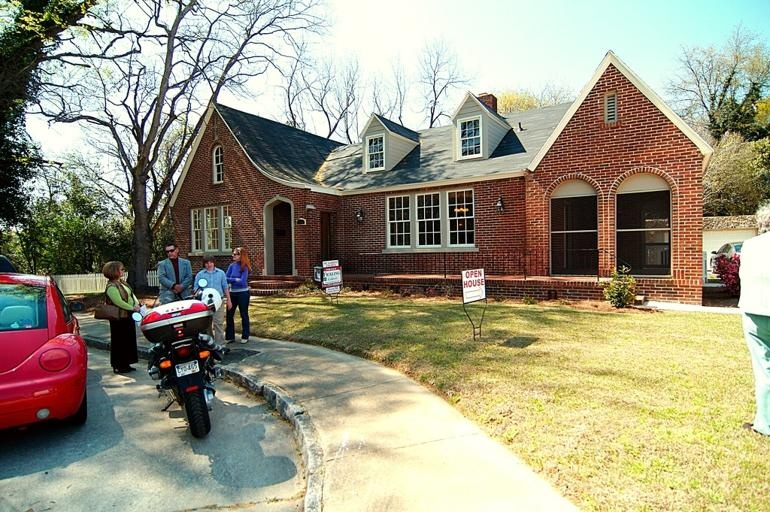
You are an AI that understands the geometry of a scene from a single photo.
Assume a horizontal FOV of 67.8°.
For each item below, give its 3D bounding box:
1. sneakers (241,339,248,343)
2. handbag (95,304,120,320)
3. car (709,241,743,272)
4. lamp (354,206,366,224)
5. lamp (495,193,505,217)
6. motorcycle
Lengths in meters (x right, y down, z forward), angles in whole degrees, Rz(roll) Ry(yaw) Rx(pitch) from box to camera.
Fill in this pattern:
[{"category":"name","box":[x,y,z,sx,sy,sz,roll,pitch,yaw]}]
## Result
[{"category":"sneakers","box":[-3.660,2.194,14.805,0.103,0.080,0.264,0,-4,-4]},{"category":"handbag","box":[-6.205,1.239,12.770,0.346,0.244,0.122,2,-6,-33]},{"category":"car","box":[13.695,0.019,23.023,1.339,0.991,2.153,4,6,25]},{"category":"lamp","box":[-1.149,-1.748,24.938,0.589,0.685,0.197,6,12,43]},{"category":"lamp","box":[4.305,-1.920,21.510,0.273,0.725,0.353,-5,9,-13]},{"category":"motorcycle","box":[-3.889,2.049,11.224,1.554,2.579,1.226,1,10,24]}]
